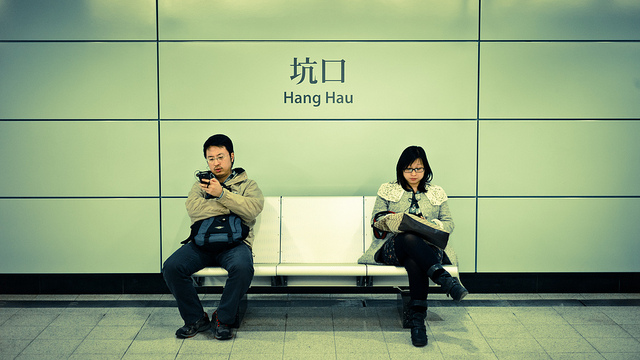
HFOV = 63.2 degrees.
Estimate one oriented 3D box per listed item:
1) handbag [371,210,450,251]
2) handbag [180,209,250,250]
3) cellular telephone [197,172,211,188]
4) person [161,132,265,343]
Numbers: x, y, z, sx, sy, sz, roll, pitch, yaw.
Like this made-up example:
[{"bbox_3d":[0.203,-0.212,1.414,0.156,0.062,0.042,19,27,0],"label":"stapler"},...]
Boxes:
[{"bbox_3d":[1.008,0.509,5.598,0.566,0.196,0.546,15,-2,-41],"label":"handbag"},{"bbox_3d":[-1.068,0.528,5.740,0.707,0.386,0.741,1,0,5],"label":"handbag"},{"bbox_3d":[-1.228,-0.025,5.665,0.126,0.191,0.123,-6,0,2],"label":"cellular telephone"},{"bbox_3d":[-1.129,0.585,5.765,0.924,2.153,0.927,2,10,9],"label":"person"}]
